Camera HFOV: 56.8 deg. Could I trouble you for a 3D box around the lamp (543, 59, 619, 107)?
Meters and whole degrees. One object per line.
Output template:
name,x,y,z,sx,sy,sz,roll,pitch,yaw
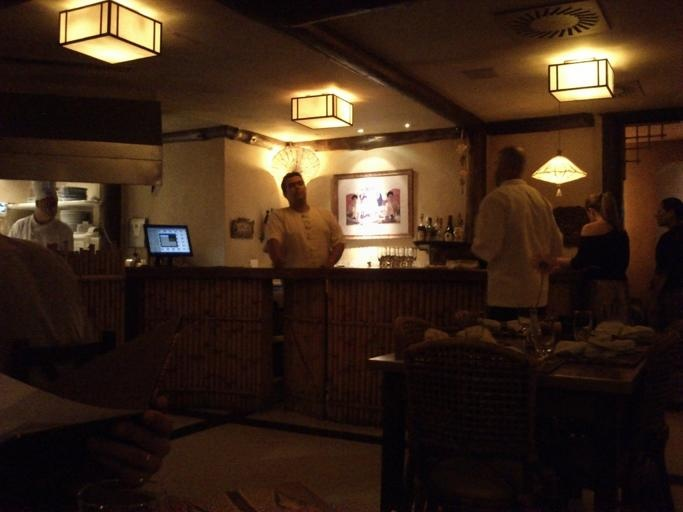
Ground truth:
lamp,2.116,-1.522,5.568,0.464,0.333,0.228,2,10,39

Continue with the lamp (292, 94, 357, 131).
lamp,-0.135,-1.465,6.544,0.392,0.195,0.403,0,-3,25

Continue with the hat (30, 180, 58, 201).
hat,-2.719,-0.584,5.782,0.179,0.160,0.255,0,1,-23

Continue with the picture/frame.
picture/frame,0.456,-0.632,8.259,1.024,0.790,0.044,2,5,32

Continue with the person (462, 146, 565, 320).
person,1.051,-0.155,3.828,0.528,1.080,0.654,0,0,19

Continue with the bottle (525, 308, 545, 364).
bottle,0.764,0.297,2.475,0.079,0.187,0.244,0,0,16

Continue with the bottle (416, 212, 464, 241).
bottle,1.228,-0.352,7.865,0.610,0.338,0.479,0,1,19

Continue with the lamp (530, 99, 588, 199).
lamp,2.318,-1.058,6.948,0.634,0.917,0.641,-1,0,2

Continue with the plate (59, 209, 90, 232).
plate,-3.253,-0.453,7.726,0.319,0.236,0.317,1,-3,-12
